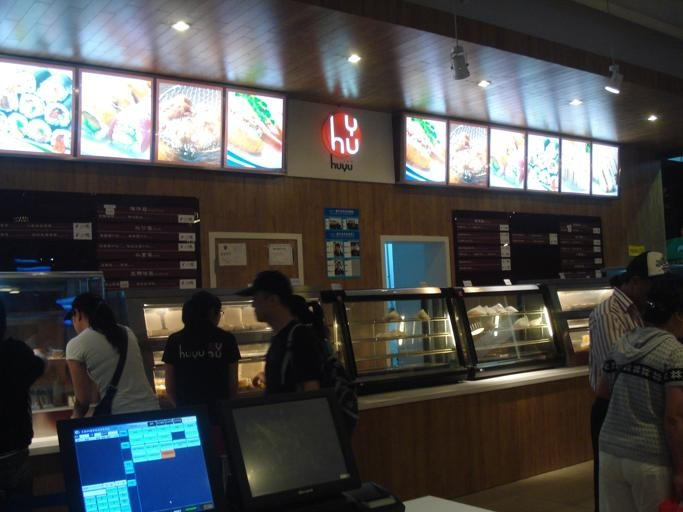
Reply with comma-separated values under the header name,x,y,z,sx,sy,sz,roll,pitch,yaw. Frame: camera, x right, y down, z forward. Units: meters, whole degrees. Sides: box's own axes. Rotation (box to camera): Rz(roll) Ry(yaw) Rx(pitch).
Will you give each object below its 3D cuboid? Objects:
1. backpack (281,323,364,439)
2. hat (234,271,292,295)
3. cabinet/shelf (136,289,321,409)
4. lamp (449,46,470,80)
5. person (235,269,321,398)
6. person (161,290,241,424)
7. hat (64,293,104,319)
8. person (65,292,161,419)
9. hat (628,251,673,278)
name,x,y,z,sx,sy,sz,roll,pitch,yaw
backpack,-0.113,0.602,2.845,0.441,0.674,0.380,9,-9,11
hat,-0.422,0.151,2.952,0.225,0.121,0.155,3,-8,-1
cabinet/shelf,-0.964,0.708,4.721,1.676,1.164,0.594,1,18,-10
lamp,0.996,-1.615,4.439,0.139,0.272,0.500,-5,-2,13
person,-0.286,0.532,3.197,0.496,0.980,0.610,3,-20,-2
person,-0.969,0.851,3.691,0.523,1.277,0.382,3,19,-10
hat,-1.636,0.311,3.370,0.216,0.123,0.162,-3,-2,32
person,-1.444,0.601,3.324,0.498,0.750,0.199,-4,-2,-22
hat,2.006,0.061,3.545,0.220,0.145,0.350,-2,-4,-20
